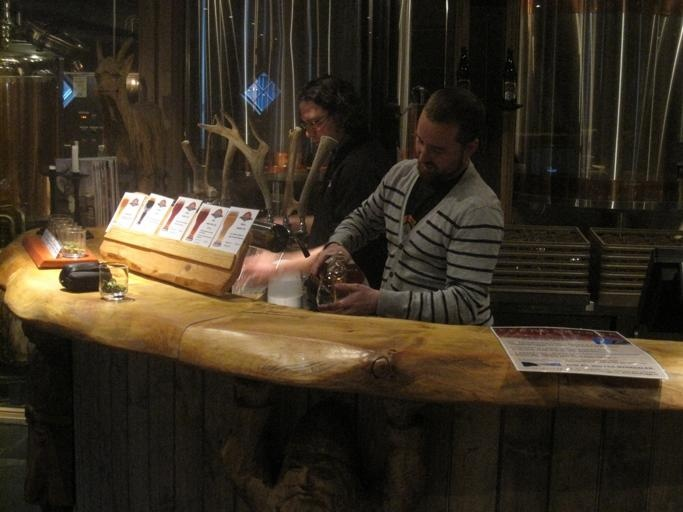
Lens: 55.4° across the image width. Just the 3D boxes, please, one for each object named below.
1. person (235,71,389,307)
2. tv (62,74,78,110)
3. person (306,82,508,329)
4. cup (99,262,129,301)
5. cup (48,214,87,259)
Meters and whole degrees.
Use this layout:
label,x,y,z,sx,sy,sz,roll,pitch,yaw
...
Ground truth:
label,x,y,z,sx,sy,sz,roll,pitch,yaw
person,-0.098,-0.225,3.942,0.858,1.633,0.813,6,12,19
tv,-2.512,-1.501,5.959,0.199,0.287,0.076,9,9,42
person,0.426,-0.238,2.884,0.567,0.997,0.699,5,7,14
cup,-0.913,0.103,2.597,0.126,0.162,0.138,3,1,9
cup,-1.326,-0.092,3.142,0.161,0.197,0.270,-3,9,-25
